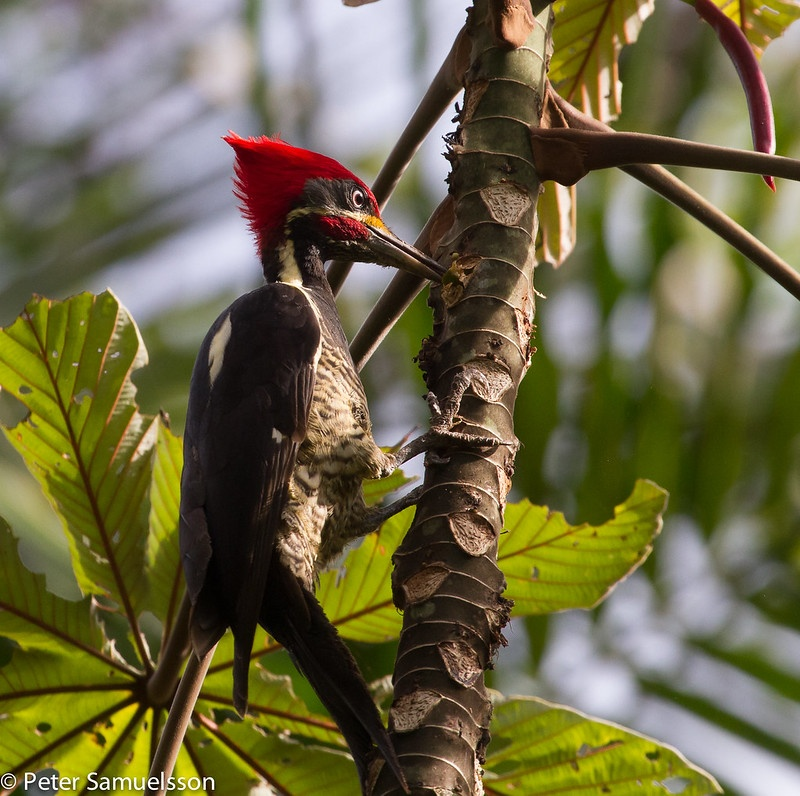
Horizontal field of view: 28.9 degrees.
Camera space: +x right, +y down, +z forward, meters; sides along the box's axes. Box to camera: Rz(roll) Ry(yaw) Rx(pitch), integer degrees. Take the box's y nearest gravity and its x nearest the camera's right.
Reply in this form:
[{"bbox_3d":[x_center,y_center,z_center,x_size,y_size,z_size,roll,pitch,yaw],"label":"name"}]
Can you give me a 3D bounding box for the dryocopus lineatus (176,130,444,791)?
[{"bbox_3d":[-0.277,0.200,4.766,0.701,2.346,0.870,8,-50,-16],"label":"dryocopus lineatus"}]
